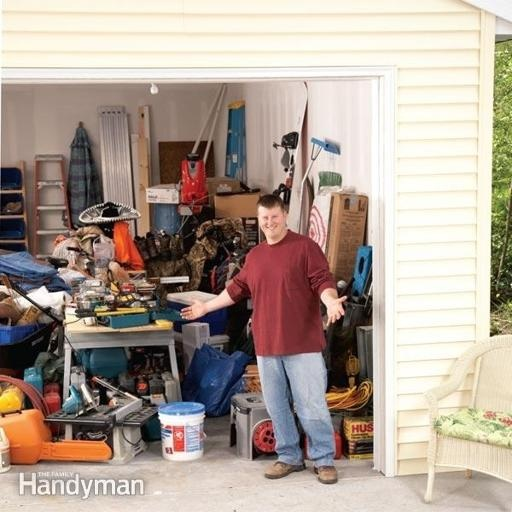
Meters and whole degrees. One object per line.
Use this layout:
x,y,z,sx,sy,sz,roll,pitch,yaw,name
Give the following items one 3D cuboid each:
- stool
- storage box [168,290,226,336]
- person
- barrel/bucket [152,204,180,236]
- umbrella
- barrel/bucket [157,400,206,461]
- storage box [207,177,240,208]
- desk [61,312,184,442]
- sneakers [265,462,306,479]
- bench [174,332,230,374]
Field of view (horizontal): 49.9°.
-0.089,1.126,3.789,0.319,0.367,0.389,-2,6,-18,stool
-0.520,0.530,4.864,0.307,0.372,0.559,-6,11,-32,storage box
0.204,0.505,3.239,0.332,1.727,0.937,-9,9,-40,person
-1.492,-0.654,9.316,0.506,0.569,0.512,0,12,0,barrel/bucket
-3.284,-1.520,10.477,0.649,1.876,0.361,-6,7,-17,umbrella
-0.495,1.209,3.781,0.334,0.322,0.332,-1,-5,0,barrel/bucket
-0.561,-1.086,9.116,0.488,0.363,0.493,-1,1,-5,storage box
-1.005,0.889,4.111,0.797,0.735,0.673,0,-6,-10,desk
0.183,1.320,3.405,0.239,0.098,0.080,3,-7,-33,sneakers
-0.553,0.884,5.403,0.542,0.372,0.303,-2,1,-43,bench
